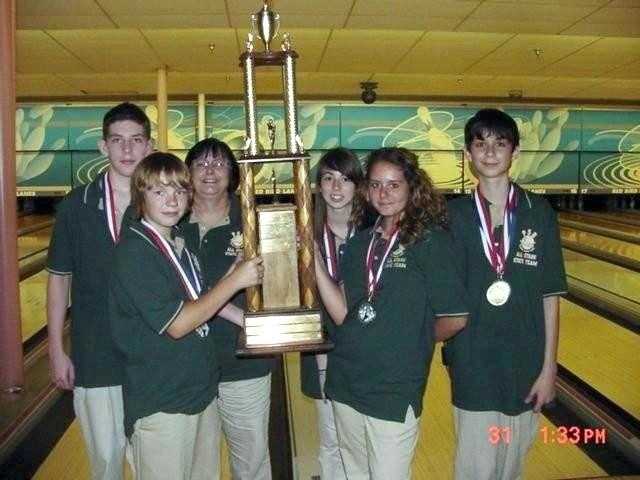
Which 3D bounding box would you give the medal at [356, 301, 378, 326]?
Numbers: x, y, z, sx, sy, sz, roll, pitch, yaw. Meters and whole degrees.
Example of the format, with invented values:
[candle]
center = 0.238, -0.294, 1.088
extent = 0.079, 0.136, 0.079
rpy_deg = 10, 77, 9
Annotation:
[medal]
center = 0.217, 0.353, 2.437
extent = 0.085, 0.107, 0.026
rpy_deg = 1, -7, 27
